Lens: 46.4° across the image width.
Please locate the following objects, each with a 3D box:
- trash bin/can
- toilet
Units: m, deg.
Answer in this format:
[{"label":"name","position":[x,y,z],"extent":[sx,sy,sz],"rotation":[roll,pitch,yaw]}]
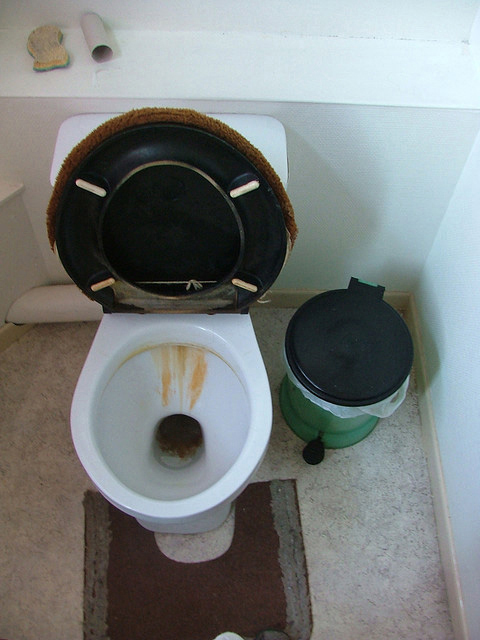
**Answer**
[{"label":"trash bin/can","position":[0.255,0.141,1.327],"extent":[0.303,0.339,0.349],"rotation":[22,74,11]},{"label":"toilet","position":[-0.145,0.040,0.999],"extent":[0.429,0.661,0.489],"rotation":[7,51,6]}]
